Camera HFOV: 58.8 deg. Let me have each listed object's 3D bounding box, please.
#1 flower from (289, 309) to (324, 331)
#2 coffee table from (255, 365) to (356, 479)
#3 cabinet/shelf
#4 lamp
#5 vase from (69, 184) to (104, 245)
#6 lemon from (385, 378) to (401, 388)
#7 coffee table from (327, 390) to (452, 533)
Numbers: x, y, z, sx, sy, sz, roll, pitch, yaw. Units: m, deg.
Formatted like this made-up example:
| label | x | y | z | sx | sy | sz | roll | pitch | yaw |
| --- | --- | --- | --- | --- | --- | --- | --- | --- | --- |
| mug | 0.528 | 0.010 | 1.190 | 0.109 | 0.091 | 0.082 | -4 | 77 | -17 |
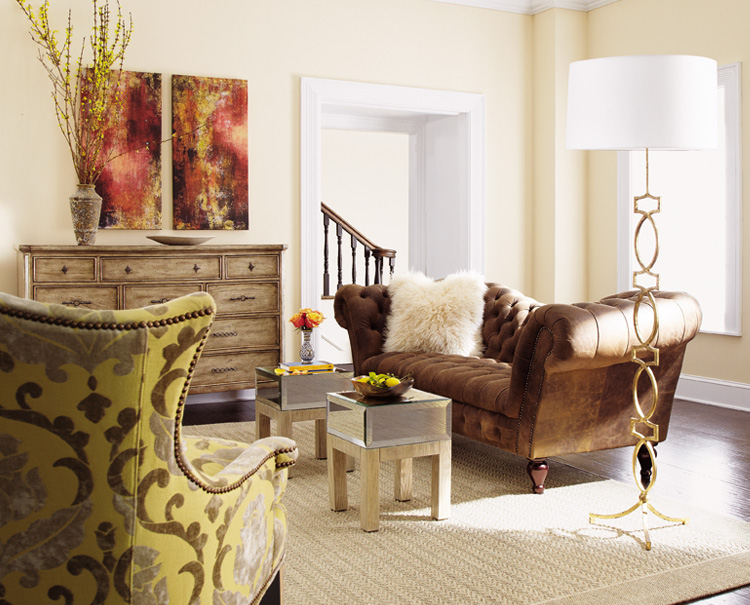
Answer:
| label | x | y | z | sx | sy | sz | roll | pitch | yaw |
| --- | --- | --- | --- | --- | --- | --- | --- | --- | --- |
| flower | -0.374 | 0.118 | 3.856 | 0.151 | 0.103 | 0.145 | 7 | 7 | 26 |
| coffee table | -0.425 | 0.564 | 3.796 | 0.684 | 0.717 | 0.514 | -2 | 3 | -31 |
| cabinet/shelf | -1.060 | 0.015 | 3.221 | 1.221 | 0.856 | 0.422 | -1 | 3 | -31 |
| lamp | 1.490 | -0.084 | 3.613 | 0.693 | 2.006 | 2.322 | 2 | 5 | 22 |
| vase | -2.097 | -0.629 | 4.797 | 0.205 | 0.444 | 0.242 | -1 | 5 | -14 |
| lemon | 0.085 | 0.352 | 2.936 | 0.050 | 0.028 | 0.039 | -1 | -3 | 38 |
| coffee table | 0.062 | 0.661 | 3.154 | 0.576 | 0.597 | 0.582 | -3 | 4 | -29 |
